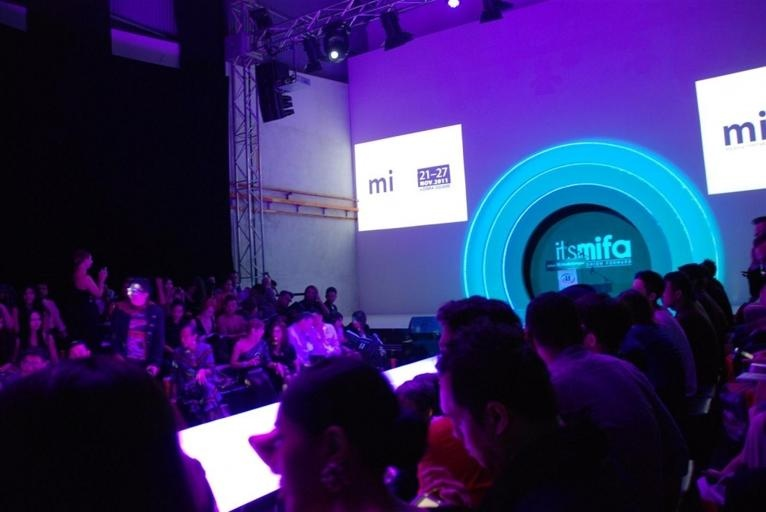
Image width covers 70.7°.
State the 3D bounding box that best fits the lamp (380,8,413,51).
[{"bbox_3d":[0.182,-3.479,8.225,0.438,0.702,0.444,-2,1,1],"label":"lamp"}]
